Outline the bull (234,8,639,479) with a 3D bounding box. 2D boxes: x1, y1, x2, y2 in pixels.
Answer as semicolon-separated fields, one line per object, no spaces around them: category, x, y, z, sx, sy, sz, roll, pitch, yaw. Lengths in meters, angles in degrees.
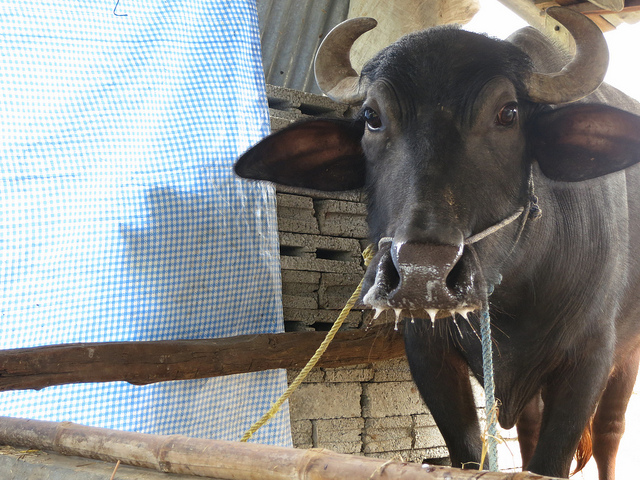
bull;1.217;0.014;7.461;2.491;2.818;1.650;14;-15;-36
